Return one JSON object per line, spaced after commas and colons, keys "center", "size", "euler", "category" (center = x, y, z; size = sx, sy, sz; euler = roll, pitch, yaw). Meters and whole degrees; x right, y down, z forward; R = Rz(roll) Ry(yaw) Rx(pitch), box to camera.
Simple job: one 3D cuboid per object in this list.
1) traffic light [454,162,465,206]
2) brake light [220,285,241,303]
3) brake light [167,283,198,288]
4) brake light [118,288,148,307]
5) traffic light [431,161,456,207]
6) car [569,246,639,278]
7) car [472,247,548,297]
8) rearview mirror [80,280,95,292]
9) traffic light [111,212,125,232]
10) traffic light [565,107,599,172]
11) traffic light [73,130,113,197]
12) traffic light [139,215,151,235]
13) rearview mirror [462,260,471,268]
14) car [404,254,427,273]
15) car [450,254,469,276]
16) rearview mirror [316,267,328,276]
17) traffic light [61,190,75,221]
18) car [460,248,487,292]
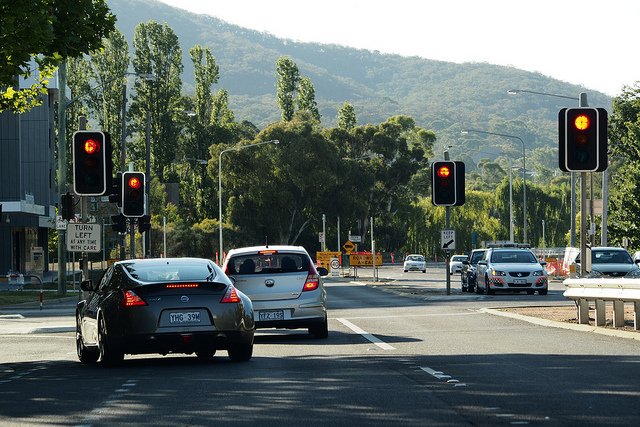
{"center": [5.396, -1.199, 40.983], "size": [0.355, 1.684, 0.758], "euler": [-1, -2, 9], "category": "traffic light"}
{"center": [-2.062, 1.849, 24.035], "size": [0.366, 0.387, 0.129], "euler": [0, 3, 9], "category": "brake light"}
{"center": [-3.088, 1.626, 23.730], "size": [0.669, 0.082, 0.015], "euler": [0, -1, -11], "category": "brake light"}
{"center": [-4.176, 1.890, 23.590], "size": [0.619, 0.406, 0.147], "euler": [-2, -2, 18], "category": "brake light"}
{"center": [4.711, -1.204, 40.529], "size": [1.011, 1.692, 0.445], "euler": [0, -2, -28], "category": "traffic light"}
{"center": [11.295, 1.824, 40.546], "size": [1.692, 1.107, 2.912], "euler": [-1, -3, 16], "category": "car"}
{"center": [7.497, 2.296, 42.873], "size": [1.457, 1.211, 3.239], "euler": [1, -10, -3], "category": "car"}
{"center": [-5.720, 1.800, 26.037], "size": [0.340, 0.156, 0.293], "euler": [-2, -46, -5], "category": "rearview mirror"}
{"center": [-7.398, 0.312, 38.666], "size": [0.473, 0.707, 0.765], "euler": [0, -2, -11], "category": "traffic light"}
{"center": [6.990, -2.018, 28.247], "size": [0.899, 1.706, 0.332], "euler": [-1, -1, 14], "category": "traffic light"}
{"center": [-6.491, -1.484, 30.126], "size": [1.066, 1.925, 0.664], "euler": [0, -2, -17], "category": "traffic light"}
{"center": [-6.812, 0.378, 41.174], "size": [0.530, 0.804, 0.506], "euler": [0, 0, -2], "category": "traffic light"}
{"center": [6.433, 2.219, 46.448], "size": [0.304, 0.170, 0.456], "euler": [4, -5, 20], "category": "rearview mirror"}
{"center": [7.064, 3.763, 78.720], "size": [1.577, 1.191, 2.361], "euler": [-1, -3, 3], "category": "car"}
{"center": [9.245, 3.392, 70.810], "size": [1.372, 1.411, 2.638], "euler": [0, -6, 1], "category": "car"}
{"center": [0.030, 1.592, 28.864], "size": [0.211, 0.128, 0.443], "euler": [-4, -13, 0], "category": "rearview mirror"}
{"center": [-8.078, -0.246, 33.839], "size": [0.355, 0.899, 0.691], "euler": [0, -2, -18], "category": "traffic light"}
{"center": [6.672, 2.425, 46.183], "size": [0.917, 1.042, 2.044], "euler": [0, -5, 0], "category": "car"}
